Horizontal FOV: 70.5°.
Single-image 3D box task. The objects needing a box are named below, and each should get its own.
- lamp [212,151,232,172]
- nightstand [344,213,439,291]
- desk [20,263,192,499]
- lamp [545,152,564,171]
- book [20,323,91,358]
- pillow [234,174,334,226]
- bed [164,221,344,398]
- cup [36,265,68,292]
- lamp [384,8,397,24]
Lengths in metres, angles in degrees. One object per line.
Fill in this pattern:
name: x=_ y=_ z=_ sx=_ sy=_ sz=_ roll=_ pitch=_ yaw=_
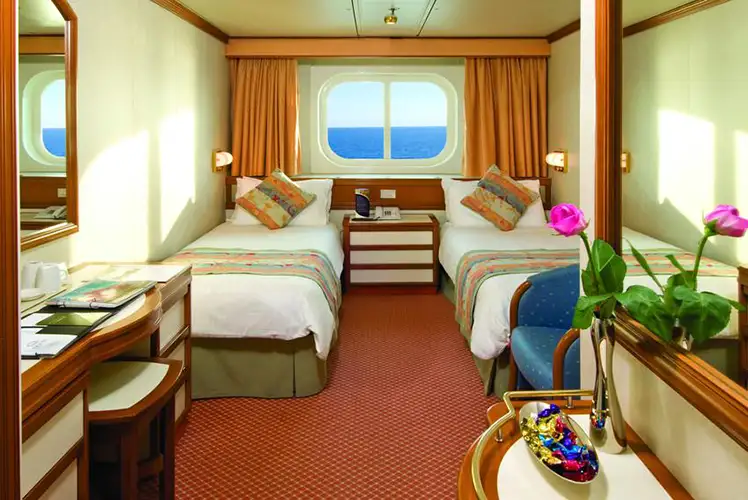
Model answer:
lamp: x=-1.517 y=-0.919 z=5.382 sx=0.171 sy=0.266 sz=0.262 roll=0 pitch=8 yaw=-3
nightstand: x=0.173 y=0.015 z=5.482 sx=1.069 sy=0.751 sz=0.601 roll=0 pitch=3 yaw=0
desk: x=-1.066 y=0.522 z=2.091 sx=0.348 sy=0.585 sz=0.988 roll=-2 pitch=12 yaw=-9
lamp: x=1.846 y=-0.901 z=5.375 sx=0.151 sy=0.202 sz=0.254 roll=0 pitch=13 yaw=4
book: x=-1.175 y=0.318 z=1.852 sx=0.260 sy=0.022 sz=0.251 roll=0 pitch=14 yaw=1
pillow: x=-0.857 y=-0.492 z=5.395 sx=0.624 sy=0.188 sz=0.661 roll=1 pitch=47 yaw=0
bed: x=-0.820 y=0.417 z=3.834 sx=1.131 sy=0.742 sz=1.405 roll=-2 pitch=14 yaw=-5
cup: x=-1.475 y=0.123 z=2.419 sx=0.073 sy=0.109 sz=0.122 roll=2 pitch=-3 yaw=-29
lamp: x=0.155 y=-2.052 z=4.648 sx=0.088 sy=0.088 sz=0.087 roll=-6 pitch=9 yaw=-39
